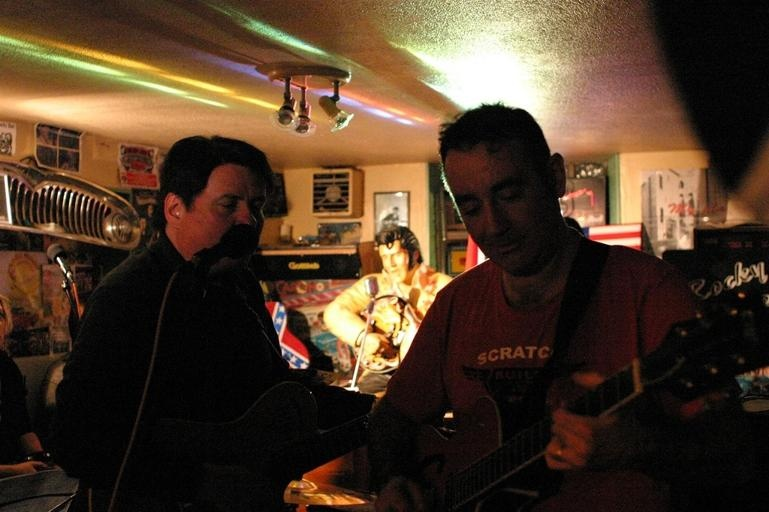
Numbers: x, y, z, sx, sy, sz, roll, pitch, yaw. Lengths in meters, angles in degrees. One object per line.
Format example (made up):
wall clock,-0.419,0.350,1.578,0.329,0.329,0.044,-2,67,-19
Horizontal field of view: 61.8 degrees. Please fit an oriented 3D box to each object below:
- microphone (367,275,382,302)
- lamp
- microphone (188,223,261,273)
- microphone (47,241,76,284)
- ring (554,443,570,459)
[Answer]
microphone,-0.067,0.201,3.965,0.076,0.133,0.035,1,-2,-42
lamp,-0.394,-0.793,3.319,0.544,0.284,0.488,3,6,15
microphone,-0.439,-0.016,1.735,0.177,0.069,0.110,-35,-28,25
microphone,-1.628,0.023,3.261,0.111,0.104,0.348,30,8,-40
ring,0.393,0.441,1.435,0.005,0.027,0.023,-4,5,-36
